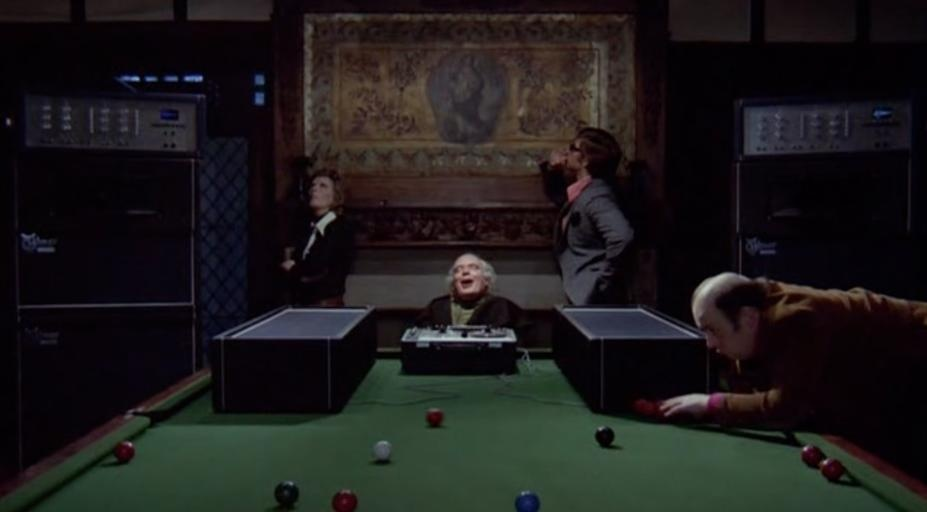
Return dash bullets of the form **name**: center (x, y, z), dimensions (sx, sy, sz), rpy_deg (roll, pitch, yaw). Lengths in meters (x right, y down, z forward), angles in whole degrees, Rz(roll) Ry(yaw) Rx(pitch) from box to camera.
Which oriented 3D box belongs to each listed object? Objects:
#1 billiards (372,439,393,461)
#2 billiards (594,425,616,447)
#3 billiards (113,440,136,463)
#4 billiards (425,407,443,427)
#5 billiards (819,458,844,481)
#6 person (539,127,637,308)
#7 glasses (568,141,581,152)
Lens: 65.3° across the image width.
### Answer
- **billiards**: center (-0.524, 1.254, 4.698), dimensions (0.121, 0.083, 0.119), rpy_deg (-2, 4, -3)
- **billiards**: center (0.927, 1.186, 4.799), dimensions (0.123, 0.116, 0.119), rpy_deg (-2, 1, 41)
- **billiards**: center (-2.166, 1.249, 4.668), dimensions (0.129, 0.118, 0.070), rpy_deg (-39, 9, -13)
- **billiards**: center (-0.193, 1.095, 4.938), dimensions (0.111, 0.087, 0.107), rpy_deg (-2, 4, -3)
- **billiards**: center (2.304, 1.324, 4.567), dimensions (0.141, 0.121, 0.077), rpy_deg (31, 14, -11)
- **person**: center (1.181, -0.395, 6.760), dimensions (0.766, 1.623, 1.285), rpy_deg (1, 8, 5)
- **glasses**: center (1.077, -1.058, 7.016), dimensions (0.121, 0.046, 0.087), rpy_deg (-13, 22, -38)
